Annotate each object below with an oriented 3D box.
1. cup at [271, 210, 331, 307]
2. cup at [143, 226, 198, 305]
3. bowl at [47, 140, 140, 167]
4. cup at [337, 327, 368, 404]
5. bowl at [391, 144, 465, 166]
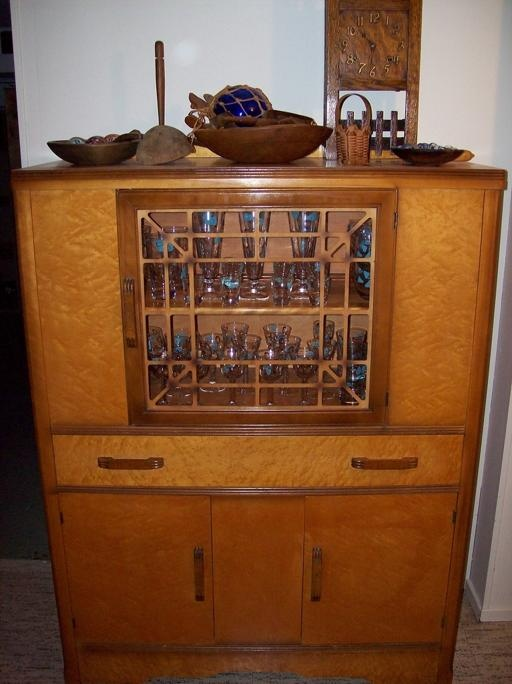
[{"bbox_3d":[0.112,-0.220,1.503,0.145,0.232,0.199,0,16,1],"label":"cup"},{"bbox_3d":[-0.215,-0.195,1.451,0.138,0.195,0.130,2,25,-1],"label":"cup"},{"bbox_3d":[-0.406,-0.472,1.464,0.218,0.070,0.161,0,15,0],"label":"bowl"},{"bbox_3d":[0.247,0.063,1.525,0.079,0.193,0.073,0,17,0],"label":"cup"},{"bbox_3d":[0.426,-0.474,1.487,0.164,0.057,0.176,0,15,0],"label":"bowl"}]
